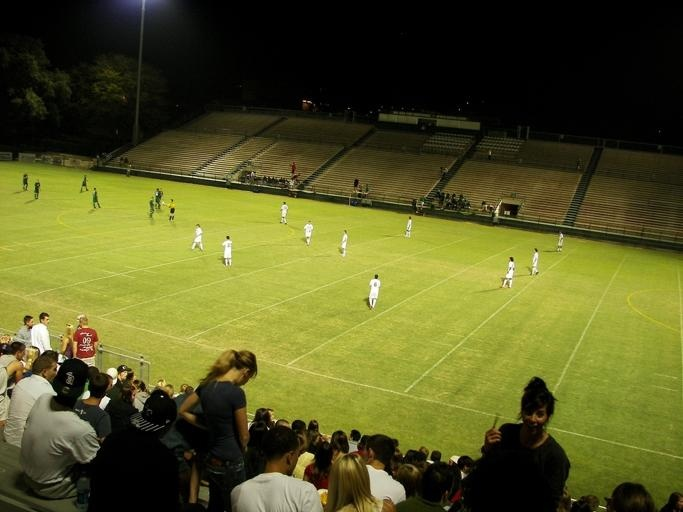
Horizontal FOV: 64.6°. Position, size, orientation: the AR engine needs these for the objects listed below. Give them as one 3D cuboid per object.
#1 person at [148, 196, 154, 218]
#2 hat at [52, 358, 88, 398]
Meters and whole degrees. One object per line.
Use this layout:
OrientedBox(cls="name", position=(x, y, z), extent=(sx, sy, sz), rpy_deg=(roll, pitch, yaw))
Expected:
OrientedBox(cls="person", position=(-15.293, -3.949, 43.568), extent=(0.421, 1.231, 1.523), rpy_deg=(10, 3, -19))
OrientedBox(cls="hat", position=(-3.300, 1.479, 6.618), extent=(0.378, 0.507, 0.220), rpy_deg=(15, -8, -16))
